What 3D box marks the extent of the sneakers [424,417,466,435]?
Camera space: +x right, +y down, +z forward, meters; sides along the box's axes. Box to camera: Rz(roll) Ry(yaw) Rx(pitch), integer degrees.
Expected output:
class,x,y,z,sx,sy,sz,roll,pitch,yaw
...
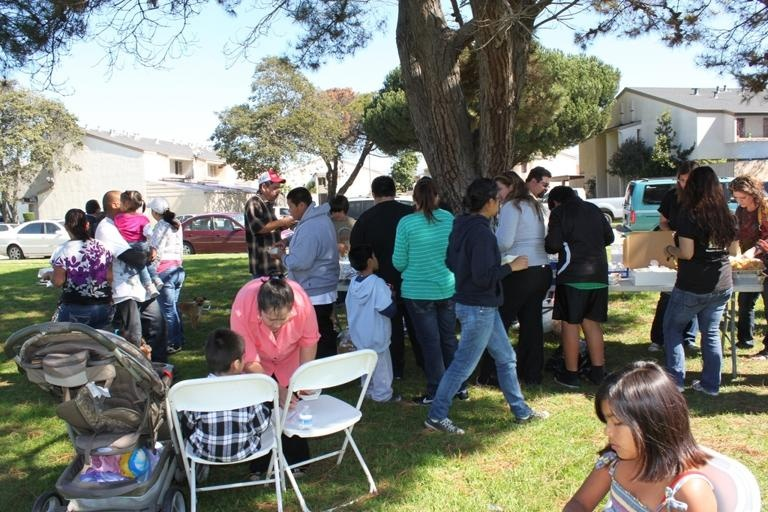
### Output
class,x,y,z,sx,sy,sz,roll,pitch,yaw
sneakers,0.590,1.657,6.052,0.419,0.180,0.147,3,3,14

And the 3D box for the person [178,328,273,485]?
class,x,y,z,sx,sy,sz,roll,pitch,yaw
person,-1.271,1.230,4.854,0.724,1.267,0.465,-4,13,-7

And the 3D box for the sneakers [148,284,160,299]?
class,x,y,z,sx,sy,sz,roll,pitch,yaw
sneakers,-2.761,0.410,7.358,0.105,0.188,0.237,-5,13,-12

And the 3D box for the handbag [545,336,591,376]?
class,x,y,z,sx,sy,sz,roll,pitch,yaw
handbag,2.257,1.197,7.250,0.688,0.303,0.226,-15,13,-33

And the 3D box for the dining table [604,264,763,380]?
class,x,y,z,sx,sy,sz,roll,pitch,yaw
dining table,3.356,0.612,7.074,1.438,0.959,1.512,-1,-9,4

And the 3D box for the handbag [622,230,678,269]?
class,x,y,z,sx,sy,sz,roll,pitch,yaw
handbag,3.271,-0.102,7.508,0.742,0.561,0.417,1,-2,-1

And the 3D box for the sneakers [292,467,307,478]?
class,x,y,z,sx,sy,sz,roll,pitch,yaw
sneakers,-0.743,1.948,5.452,0.062,0.119,0.120,1,-14,10

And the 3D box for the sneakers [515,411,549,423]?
class,x,y,z,sx,sy,sz,roll,pitch,yaw
sneakers,1.488,1.606,6.110,0.325,0.106,0.156,-6,13,-18
